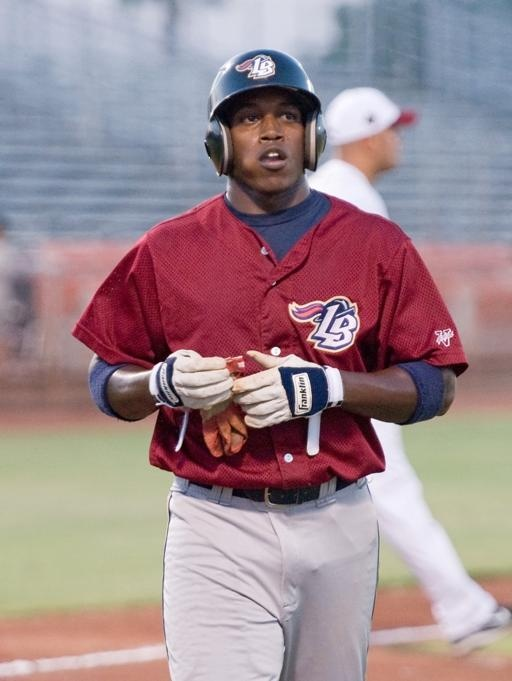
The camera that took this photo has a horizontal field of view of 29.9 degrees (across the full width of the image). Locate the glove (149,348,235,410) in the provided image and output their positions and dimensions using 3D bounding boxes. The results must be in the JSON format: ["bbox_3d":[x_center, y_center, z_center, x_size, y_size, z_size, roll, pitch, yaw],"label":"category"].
[{"bbox_3d":[-0.144,0.097,2.103,0.139,0.146,0.186,-3,7,-21],"label":"glove"}]

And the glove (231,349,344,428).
[{"bbox_3d":[0.060,0.096,2.111,0.269,0.095,0.178,-3,26,-16],"label":"glove"}]

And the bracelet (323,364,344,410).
[{"bbox_3d":[0.159,0.111,2.073,0.054,0.070,0.061,-5,3,-1],"label":"bracelet"}]

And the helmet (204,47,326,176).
[{"bbox_3d":[0.024,-0.539,2.261,0.295,0.236,0.268,-5,2,5],"label":"helmet"}]
